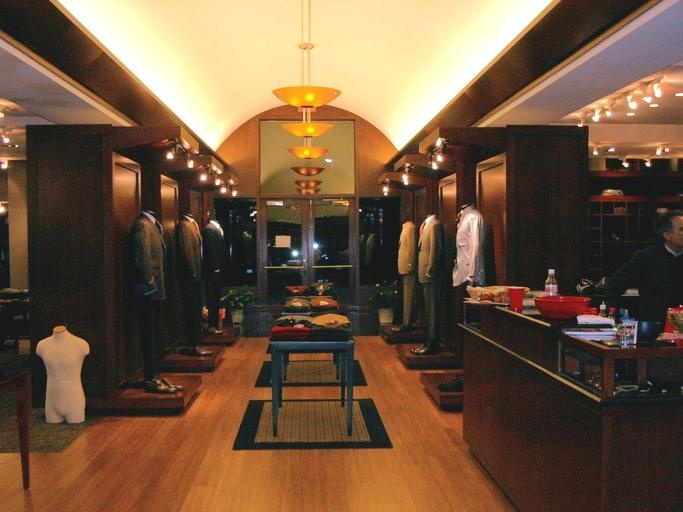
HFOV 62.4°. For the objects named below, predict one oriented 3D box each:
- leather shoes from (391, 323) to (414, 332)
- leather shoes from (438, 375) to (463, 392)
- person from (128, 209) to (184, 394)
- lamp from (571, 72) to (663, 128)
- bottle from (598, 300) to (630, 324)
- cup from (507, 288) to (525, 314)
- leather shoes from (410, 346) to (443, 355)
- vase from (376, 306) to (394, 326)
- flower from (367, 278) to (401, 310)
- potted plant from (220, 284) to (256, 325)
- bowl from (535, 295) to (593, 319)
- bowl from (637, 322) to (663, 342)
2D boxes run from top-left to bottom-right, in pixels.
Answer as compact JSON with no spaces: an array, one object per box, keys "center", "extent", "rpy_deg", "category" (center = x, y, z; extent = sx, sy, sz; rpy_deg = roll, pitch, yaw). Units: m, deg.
[{"center":[1.034,1.193,9.392],"extent":[0.415,0.166,0.148],"rpy_deg":[2,-5,-9],"category":"leather shoes"},{"center":[1.214,1.431,6.299],"extent":[0.268,0.106,0.147],"rpy_deg":[1,-6,-1],"category":"leather shoes"},{"center":[-2.192,0.483,6.477],"extent":[0.453,1.966,1.183],"rpy_deg":[-3,8,-20],"category":"person"},{"center":[3.593,-1.956,7.301],"extent":[0.722,0.189,0.699],"rpy_deg":[-21,2,19],"category":"lamp"},{"center":[2.189,0.444,4.531],"extent":[0.285,0.139,0.391],"rpy_deg":[-1,-1,7],"category":"bottle"},{"center":[1.392,0.328,4.465],"extent":[0.121,0.174,0.307],"rpy_deg":[2,7,18],"category":"cup"},{"center":[1.184,1.323,7.875],"extent":[0.449,0.195,0.153],"rpy_deg":[4,-6,0],"category":"leather shoes"},{"center":[0.802,1.093,10.210],"extent":[0.304,0.314,0.305],"rpy_deg":[0,1,25],"category":"vase"},{"center":[0.791,0.671,10.351],"extent":[0.502,0.518,0.512],"rpy_deg":[-2,10,-2],"category":"flower"},{"center":[-1.822,0.845,10.312],"extent":[0.667,0.694,0.712],"rpy_deg":[0,0,12],"category":"potted plant"},{"center":[1.575,0.360,4.039],"extent":[0.371,0.168,0.221],"rpy_deg":[2,7,18],"category":"bowl"},{"center":[1.918,0.464,3.512],"extent":[0.131,0.090,0.141],"rpy_deg":[0,-8,0],"category":"bowl"}]
